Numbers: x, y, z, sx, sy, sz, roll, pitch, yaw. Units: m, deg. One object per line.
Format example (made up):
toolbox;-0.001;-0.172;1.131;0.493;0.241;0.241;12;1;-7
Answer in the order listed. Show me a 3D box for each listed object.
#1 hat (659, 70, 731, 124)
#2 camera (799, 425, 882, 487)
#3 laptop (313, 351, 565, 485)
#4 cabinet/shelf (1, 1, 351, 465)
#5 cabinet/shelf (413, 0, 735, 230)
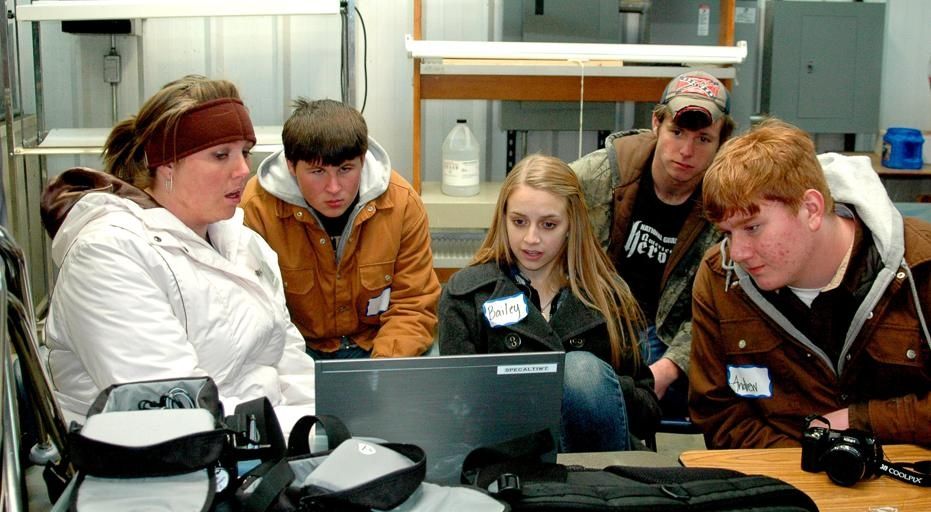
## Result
hat;1.152;-0.796;3.779;0.243;0.183;0.332;15;5;15
camera;1.339;0.709;2.726;0.231;0.153;0.268;-12;10;-30
laptop;-0.089;0.414;2.661;0.672;0.416;0.427;0;10;-7
cabinet/shelf;-1.399;-0.093;3.794;1.413;1.714;1.725;0;4;11
cabinet/shelf;0.648;-0.899;4.554;1.769;1.685;0.677;1;19;-1
